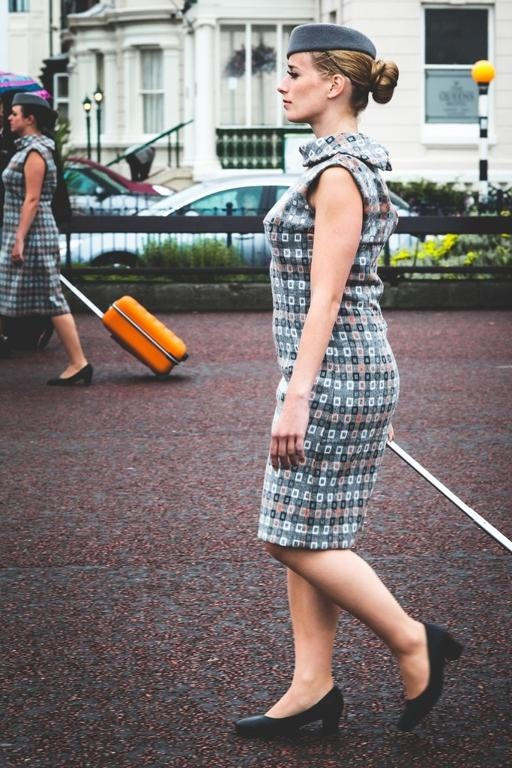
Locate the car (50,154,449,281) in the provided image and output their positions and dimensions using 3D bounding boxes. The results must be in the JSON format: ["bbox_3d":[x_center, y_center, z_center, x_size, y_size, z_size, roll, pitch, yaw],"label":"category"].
[{"bbox_3d":[-0.471,-2.398,14.136,6.334,1.683,2.577,0,7,-6],"label":"car"}]

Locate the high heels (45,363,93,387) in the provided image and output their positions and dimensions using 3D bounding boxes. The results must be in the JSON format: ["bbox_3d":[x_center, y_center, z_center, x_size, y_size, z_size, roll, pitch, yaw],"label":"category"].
[{"bbox_3d":[-1.421,-0.067,7.655,0.497,0.193,0.148,2,14,7],"label":"high heels"}]

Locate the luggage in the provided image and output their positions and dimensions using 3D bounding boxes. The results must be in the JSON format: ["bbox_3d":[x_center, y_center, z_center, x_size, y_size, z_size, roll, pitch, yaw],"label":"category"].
[{"bbox_3d":[-1.214,-0.653,7.991,0.364,1.596,0.465,-50,-4,0],"label":"luggage"}]
